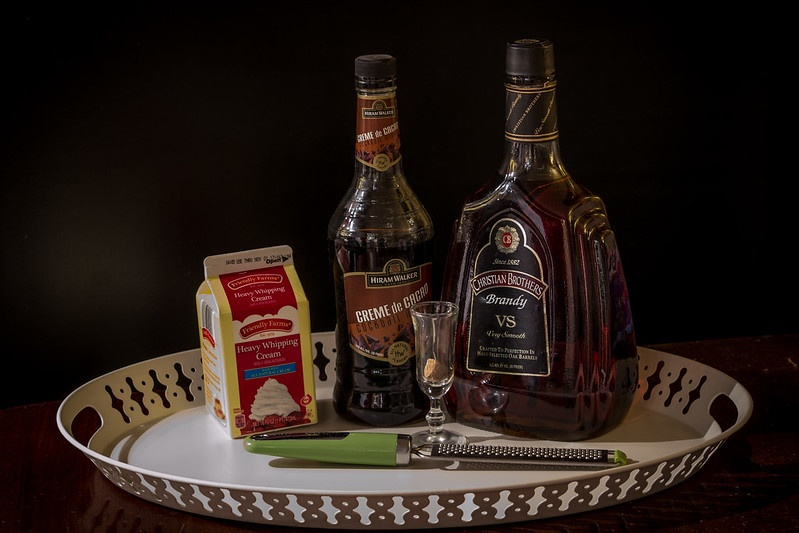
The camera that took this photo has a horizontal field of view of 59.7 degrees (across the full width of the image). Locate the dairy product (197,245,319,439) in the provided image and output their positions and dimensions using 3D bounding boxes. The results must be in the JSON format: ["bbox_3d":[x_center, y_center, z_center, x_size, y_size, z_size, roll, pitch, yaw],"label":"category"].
[{"bbox_3d":[-0.215,0.101,1.025,0.158,0.249,0.147,-11,14,-40],"label":"dairy product"}]

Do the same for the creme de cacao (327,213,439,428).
[{"bbox_3d":[-0.030,0.009,1.033,0.148,0.449,0.139,-3,9,-14],"label":"creme de cacao"}]

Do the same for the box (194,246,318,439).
[{"bbox_3d":[-0.213,0.103,1.026,0.165,0.247,0.157,-12,15,-43],"label":"box"}]

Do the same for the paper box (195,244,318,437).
[{"bbox_3d":[-0.212,0.103,1.028,0.155,0.255,0.143,-6,11,-25],"label":"paper box"}]
